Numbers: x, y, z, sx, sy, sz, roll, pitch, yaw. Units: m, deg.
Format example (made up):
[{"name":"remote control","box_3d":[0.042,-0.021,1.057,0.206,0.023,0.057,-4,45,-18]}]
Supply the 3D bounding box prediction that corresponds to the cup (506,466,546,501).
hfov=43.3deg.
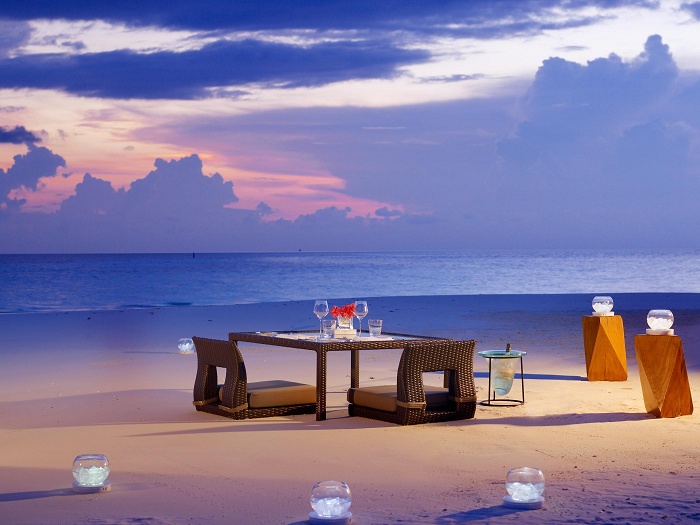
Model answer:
[{"name":"cup","box_3d":[1.586,2.029,8.132,0.315,0.230,0.323,-2,-4,0]}]

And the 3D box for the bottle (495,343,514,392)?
[{"name":"bottle","box_3d":[2.135,1.600,12.340,0.295,0.524,0.318,-1,-8,0]}]

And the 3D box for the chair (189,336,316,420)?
[{"name":"chair","box_3d":[-1.314,1.568,11.935,1.304,0.899,1.251,1,-2,-32]}]

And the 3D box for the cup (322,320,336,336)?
[{"name":"cup","box_3d":[-0.279,0.876,11.755,0.238,0.242,0.221,-1,0,0]}]

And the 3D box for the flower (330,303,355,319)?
[{"name":"flower","box_3d":[-0.108,0.629,11.904,0.304,0.144,0.303,-1,-5,-5]}]

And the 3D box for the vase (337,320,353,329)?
[{"name":"vase","box_3d":[-0.076,0.846,12.028,0.161,0.137,0.274,0,-3,3]}]

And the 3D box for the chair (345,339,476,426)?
[{"name":"chair","box_3d":[0.821,1.511,11.617,1.264,0.922,1.230,3,-3,-37]}]

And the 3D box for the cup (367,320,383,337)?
[{"name":"cup","box_3d":[0.294,0.889,11.940,0.247,0.233,0.233,0,1,0]}]
